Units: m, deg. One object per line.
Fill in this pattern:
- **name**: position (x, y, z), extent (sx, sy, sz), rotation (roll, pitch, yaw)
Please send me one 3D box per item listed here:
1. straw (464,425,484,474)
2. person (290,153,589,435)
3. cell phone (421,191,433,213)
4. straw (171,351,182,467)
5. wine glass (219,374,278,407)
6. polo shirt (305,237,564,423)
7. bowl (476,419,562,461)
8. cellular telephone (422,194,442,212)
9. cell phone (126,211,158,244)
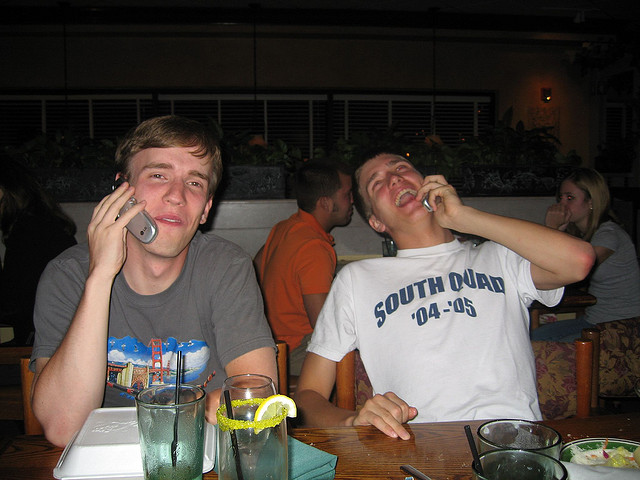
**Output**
- **straw**: position (0.391, 0.534, 1.332), extent (0.017, 0.121, 0.011), rotation (-14, -10, -36)
- **person**: position (0.482, 0.311, 2.162), extent (0.972, 1.263, 0.431), rotation (2, -42, 0)
- **cell phone**: position (0.481, -0.166, 2.363), extent (0.023, 0.072, 0.058), rotation (-4, -12, -31)
- **straw**: position (-0.378, 0.460, 1.417), extent (0.018, 0.327, 0.017), rotation (1, 1, -8)
- **wine glass**: position (-0.186, 0.390, 1.383), extent (0.095, 0.085, 0.092), rotation (-1, -6, 1)
- **polo shirt**: position (0.492, 0.367, 2.182), extent (0.955, 0.693, 0.386), rotation (-3, -3, 23)
- **bowl**: position (0.519, 0.470, 1.361), extent (0.146, 0.104, 0.145), rotation (-2, 0, 0)
- **cellular telephone**: position (0.505, -0.161, 2.362), extent (0.080, 0.074, 0.044), rotation (-3, -2, 16)
- **cell phone**: position (-0.663, -0.041, 1.968), extent (0.121, 0.116, 0.029), rotation (-2, -2, 14)
